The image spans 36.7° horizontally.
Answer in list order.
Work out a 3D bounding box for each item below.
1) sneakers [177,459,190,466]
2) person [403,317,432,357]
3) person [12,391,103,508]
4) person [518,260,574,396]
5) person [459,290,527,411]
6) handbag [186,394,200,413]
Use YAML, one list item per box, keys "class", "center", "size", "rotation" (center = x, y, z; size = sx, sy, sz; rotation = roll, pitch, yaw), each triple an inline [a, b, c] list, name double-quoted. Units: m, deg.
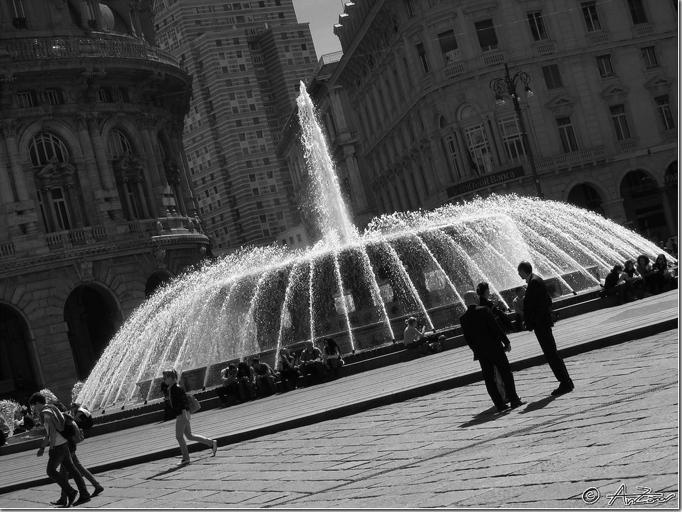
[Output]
- class: "sneakers"
  center: [-3.346, 4.395, 22.004]
  size: [0.253, 0.120, 0.468]
  rotation: [-14, -2, -11]
- class: "person"
  center: [2.137, 2.302, 29.379]
  size: [0.724, 1.052, 0.328]
  rotation: [-15, -2, 2]
- class: "person"
  center: [-5.727, 3.895, 20.871]
  size: [0.909, 2.198, 0.771]
  rotation: [-15, -2, 13]
- class: "person"
  center: [4.043, 1.415, 20.548]
  size: [0.626, 2.767, 0.999]
  rotation: [-15, -2, 10]
- class: "person"
  center: [2.987, 1.865, 20.575]
  size: [0.815, 2.465, 0.733]
  rotation: [-15, -2, 5]
- class: "handbag"
  center: [-3.223, 3.188, 22.326]
  size: [0.232, 0.405, 0.901]
  rotation: [-14, -2, -11]
